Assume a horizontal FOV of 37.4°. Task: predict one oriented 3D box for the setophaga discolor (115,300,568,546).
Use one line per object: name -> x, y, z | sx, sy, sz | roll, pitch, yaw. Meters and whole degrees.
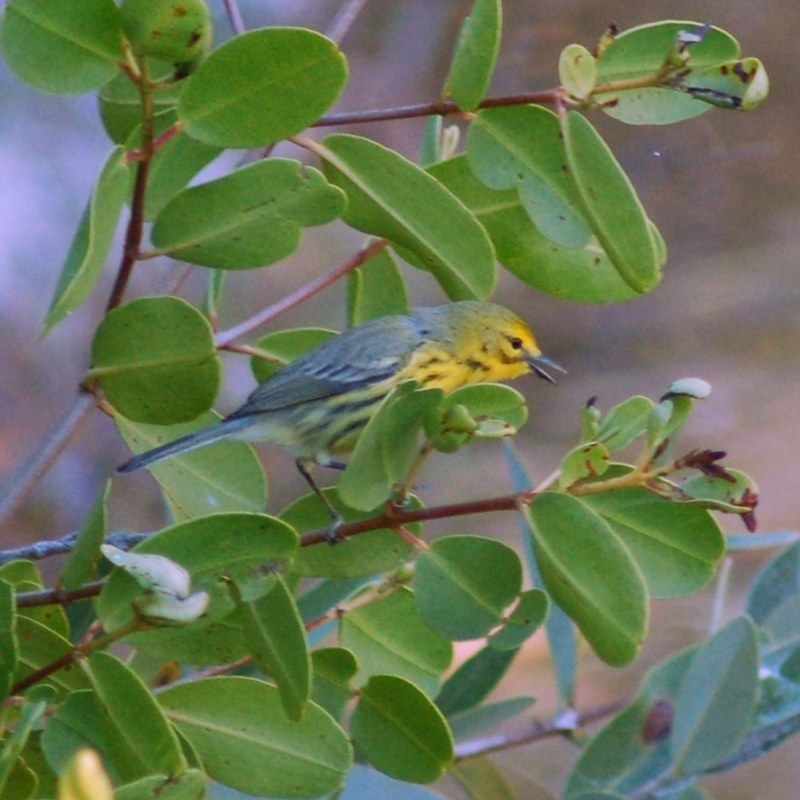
setophaga discolor -> -0.035, -0.003, 2.154 | 1.054, 0.355, 0.291 | -6, 7, -14
